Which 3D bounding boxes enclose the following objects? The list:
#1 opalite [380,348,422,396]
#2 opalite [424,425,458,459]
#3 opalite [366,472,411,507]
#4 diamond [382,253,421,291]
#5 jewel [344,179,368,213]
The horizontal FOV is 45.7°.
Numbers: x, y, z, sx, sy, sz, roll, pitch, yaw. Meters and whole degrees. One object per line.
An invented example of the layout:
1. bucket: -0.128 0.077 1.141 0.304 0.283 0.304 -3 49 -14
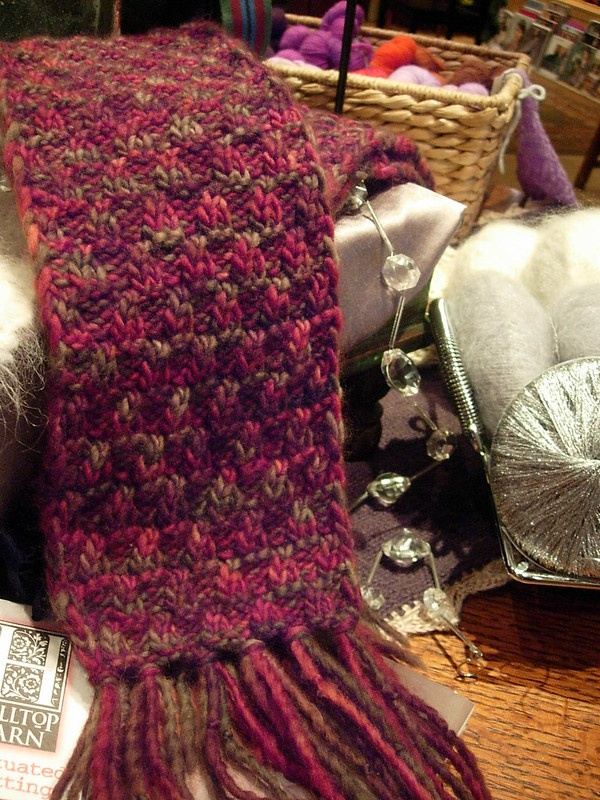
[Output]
1. opalite: 0.084 -0.025 0.626 0.030 0.015 0.041 -32 106 -23
2. opalite: 0.144 0.043 0.725 0.031 0.016 0.030 -27 102 20
3. opalite: 0.088 0.087 0.707 0.042 0.018 0.030 -25 55 3
4. diamond: 0.080 -0.099 0.561 0.027 0.010 0.029 3 97 -7
5. jewel: 0.043 -0.158 0.563 0.008 0.026 0.019 31 40 16
